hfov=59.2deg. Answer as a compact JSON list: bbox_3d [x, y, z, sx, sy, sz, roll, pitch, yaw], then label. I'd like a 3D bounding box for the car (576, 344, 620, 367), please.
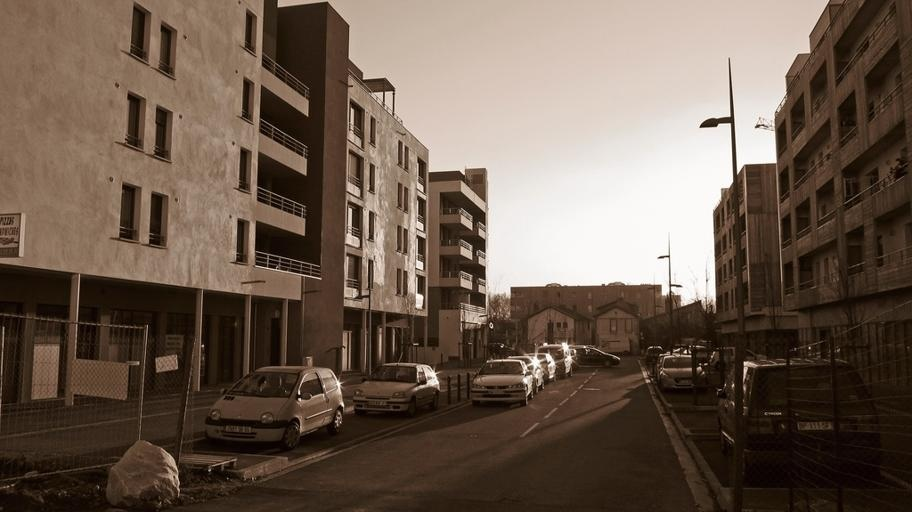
[{"bbox_3d":[11.900,8.561,67.722,2.910,1.360,1.814,-4,-3,6],"label":"car"}]

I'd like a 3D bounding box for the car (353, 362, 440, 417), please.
[{"bbox_3d":[-2.426,5.817,34.896,3.762,2.325,1.926,10,-21,-42],"label":"car"}]
